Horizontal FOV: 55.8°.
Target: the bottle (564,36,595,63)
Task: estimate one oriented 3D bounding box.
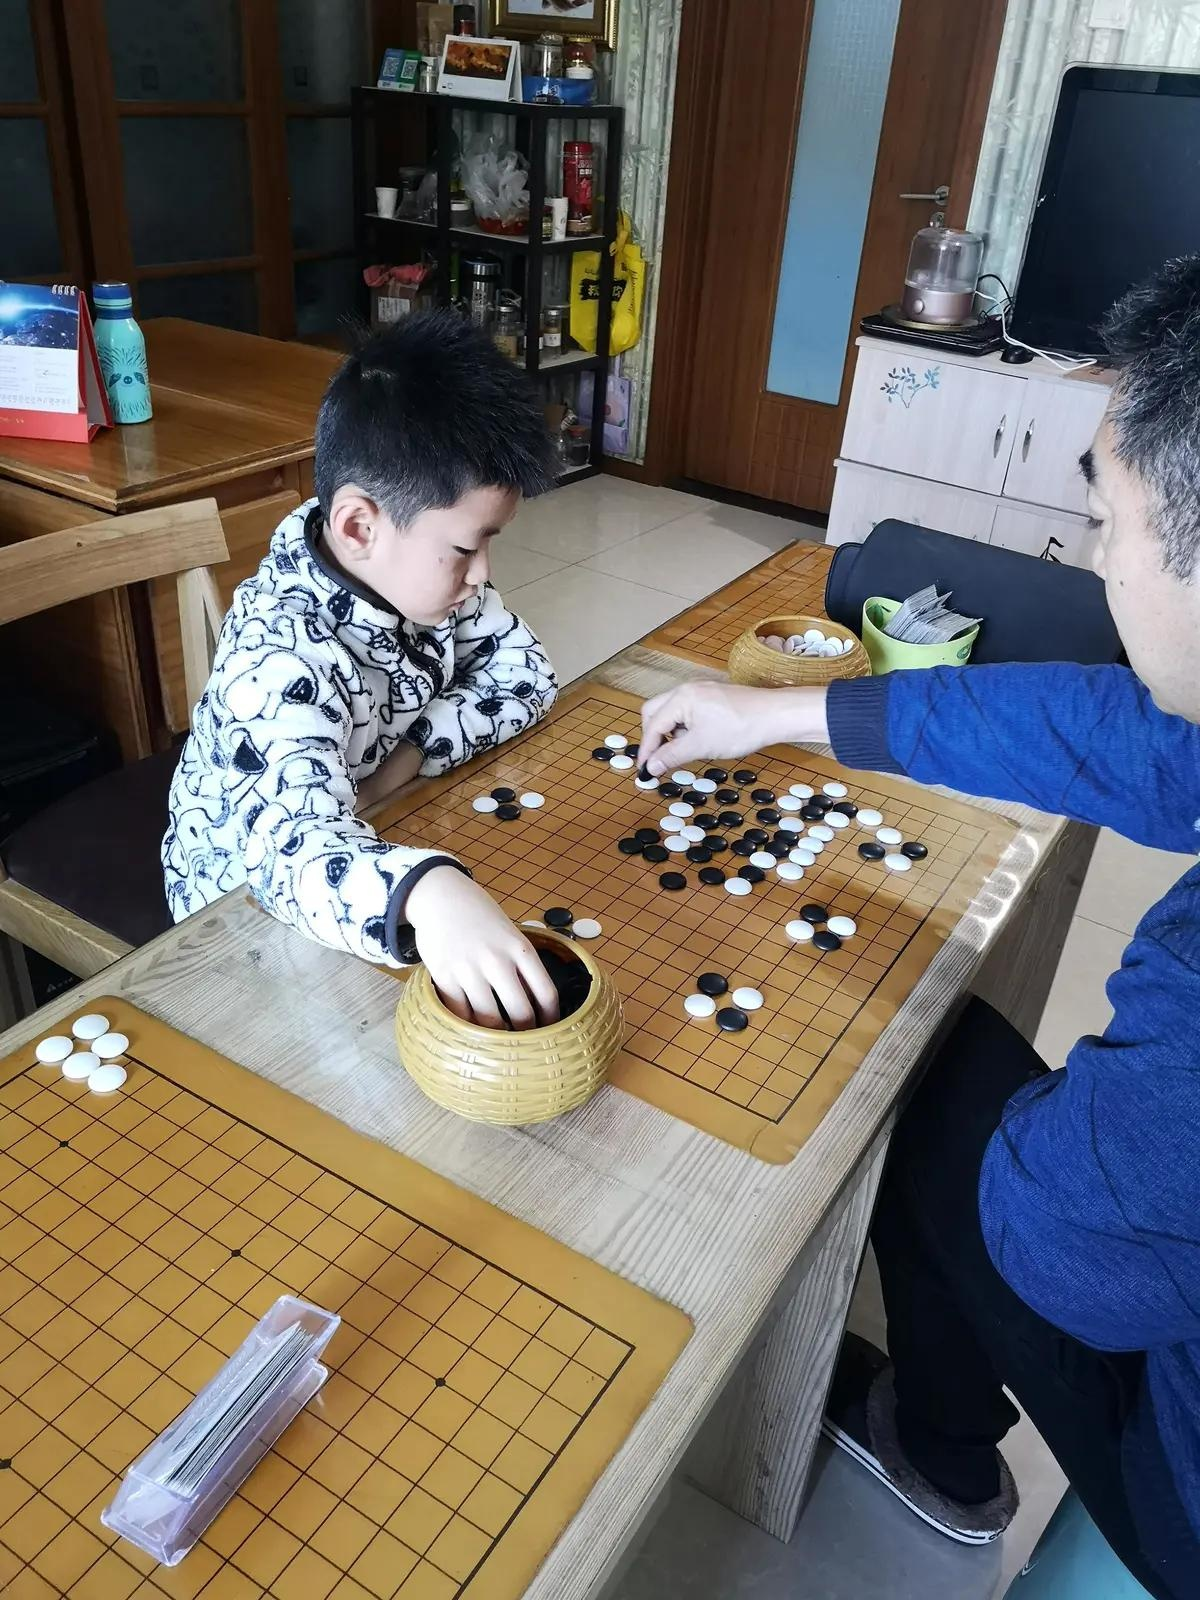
[{"bbox_3d":[-0.077,-2.701,4.094,0.113,0.098,0.133,1,27,0],"label":"bottle"}]

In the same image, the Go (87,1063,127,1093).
[{"bbox_3d":[-0.348,0.197,0.800,0.025,0.010,0.026,14,29,23],"label":"Go"}]

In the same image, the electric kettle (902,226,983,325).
[{"bbox_3d":[1.048,-1.581,3.432,0.255,0.353,0.257,4,35,12],"label":"electric kettle"}]

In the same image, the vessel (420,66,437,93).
[{"bbox_3d":[-0.622,-2.603,4.094,0.067,0.100,0.067,-13,36,-22],"label":"vessel"}]

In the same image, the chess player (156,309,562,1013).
[{"bbox_3d":[-0.147,-0.058,1.107,0.415,0.736,0.401,-15,34,-32],"label":"chess player"}]

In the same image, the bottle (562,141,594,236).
[{"bbox_3d":[-0.073,-2.261,4.201,0.163,0.300,0.147,-10,30,-20],"label":"bottle"}]

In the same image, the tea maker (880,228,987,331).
[{"bbox_3d":[1.072,-1.641,3.559,0.278,0.285,0.273,-12,40,-17],"label":"tea maker"}]

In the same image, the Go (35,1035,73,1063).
[{"bbox_3d":[-0.398,0.182,0.824,0.024,0.009,0.026,-7,28,-16],"label":"Go"}]
